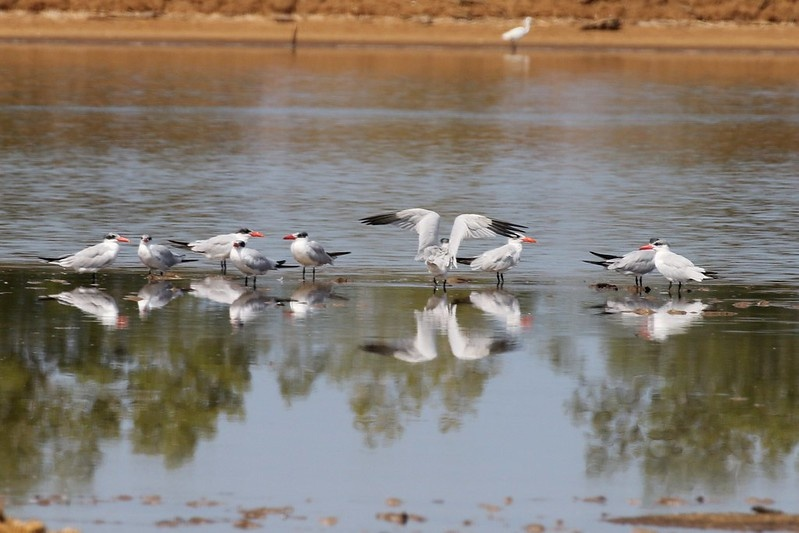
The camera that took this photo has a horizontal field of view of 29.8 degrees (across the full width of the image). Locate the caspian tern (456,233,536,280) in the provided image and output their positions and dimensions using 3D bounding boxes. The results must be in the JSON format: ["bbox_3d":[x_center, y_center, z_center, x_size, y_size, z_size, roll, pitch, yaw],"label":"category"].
[{"bbox_3d":[2.479,-0.196,37.551,2.399,1.020,0.644,-1,15,23],"label":"caspian tern"}]

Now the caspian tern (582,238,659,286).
[{"bbox_3d":[5.555,-0.052,37.537,2.317,1.069,0.595,2,3,-23],"label":"caspian tern"}]

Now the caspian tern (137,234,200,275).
[{"bbox_3d":[-5.949,-0.240,38.009,1.093,1.565,1.037,9,46,-1],"label":"caspian tern"}]
